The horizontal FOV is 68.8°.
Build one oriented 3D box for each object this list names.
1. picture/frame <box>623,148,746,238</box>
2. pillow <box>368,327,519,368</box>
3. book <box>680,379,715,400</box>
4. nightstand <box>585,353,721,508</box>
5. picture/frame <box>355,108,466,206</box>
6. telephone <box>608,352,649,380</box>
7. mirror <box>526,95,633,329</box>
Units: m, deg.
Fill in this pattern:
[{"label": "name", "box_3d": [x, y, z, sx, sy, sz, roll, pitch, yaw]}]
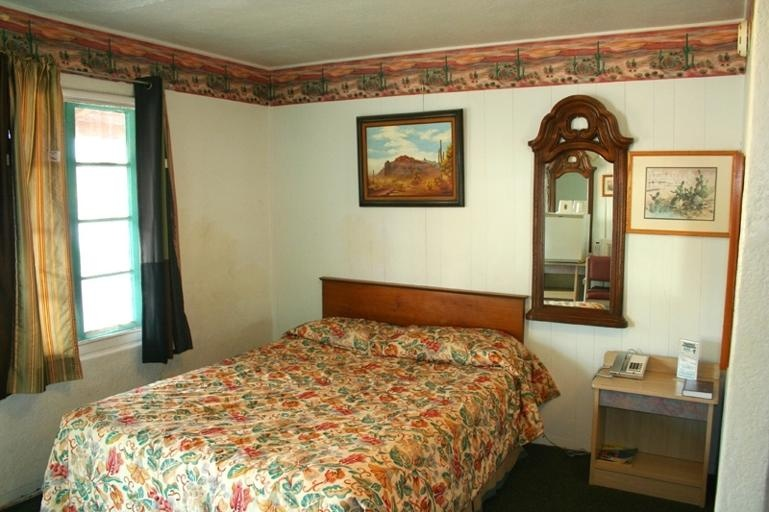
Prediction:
[{"label": "picture/frame", "box_3d": [2.256, -0.471, 4.159, 0.845, 0.693, 0.067, 3, 4, 21]}, {"label": "pillow", "box_3d": [0.499, 0.723, 4.548, 0.839, 0.133, 0.457, 3, 6, 17]}, {"label": "book", "box_3d": [2.237, 0.942, 4.012, 0.205, 0.071, 0.265, 5, 9, 29]}, {"label": "nightstand", "box_3d": [2.036, 1.303, 4.185, 1.104, 1.184, 0.637, 3, 3, 29]}, {"label": "picture/frame", "box_3d": [0.274, -0.897, 5.067, 0.964, 0.728, 0.072, 2, 6, 21]}, {"label": "telephone", "box_3d": [1.888, 0.827, 4.314, 0.182, 0.056, 0.244, -1, 13, 28]}, {"label": "mirror", "box_3d": [1.556, -0.354, 4.509, 0.817, 1.810, 0.281, 3, 9, 13]}]
